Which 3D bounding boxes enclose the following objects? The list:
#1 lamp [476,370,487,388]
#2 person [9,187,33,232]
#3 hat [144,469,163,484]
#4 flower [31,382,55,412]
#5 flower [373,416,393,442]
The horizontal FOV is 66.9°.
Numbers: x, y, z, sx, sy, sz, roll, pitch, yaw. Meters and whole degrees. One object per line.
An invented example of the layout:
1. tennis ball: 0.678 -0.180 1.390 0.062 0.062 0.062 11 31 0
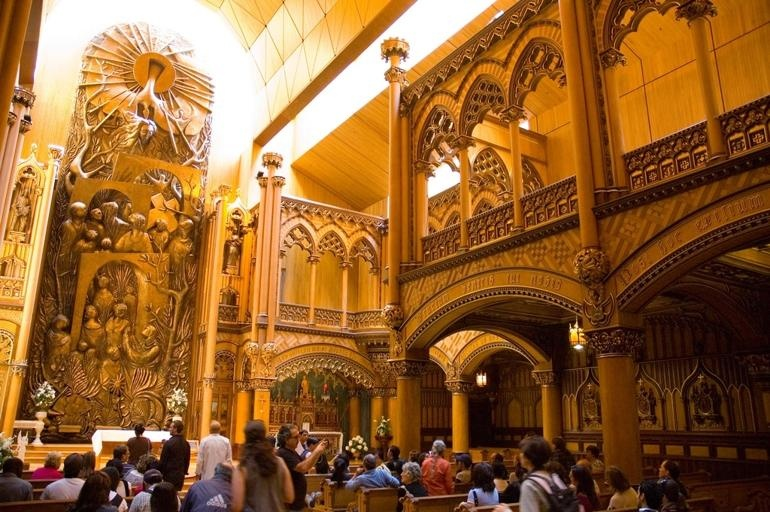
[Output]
1. lamp: 3.593 4.466 21.613 0.252 0.726 1.288 -2 -24 12
2. person: -13.360 -1.640 21.440 0.661 1.513 0.378 12 -24 -21
3. hat: -3.654 3.465 9.197 0.263 0.202 0.435 8 -14 -18
4. flower: -12.651 5.168 21.463 0.775 1.132 0.788 7 -23 -13
5. flower: -0.025 6.239 21.082 0.692 0.895 0.655 5 -7 -36
